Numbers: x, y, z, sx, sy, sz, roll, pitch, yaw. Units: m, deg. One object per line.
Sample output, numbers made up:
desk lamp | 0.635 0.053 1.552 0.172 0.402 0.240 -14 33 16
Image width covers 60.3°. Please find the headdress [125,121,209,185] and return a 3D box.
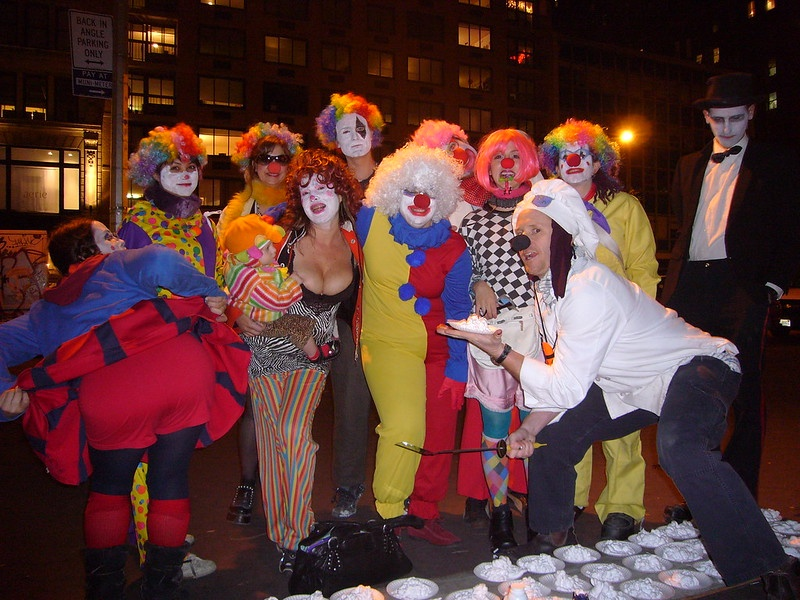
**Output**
headdress | -1.831 -1.130 5.354 0.507 0.493 0.295 -3 4 18

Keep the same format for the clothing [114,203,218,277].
clothing | -1.590 -0.404 4.695 0.494 0.404 0.264 23 -11 -32

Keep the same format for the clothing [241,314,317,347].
clothing | -0.761 0.193 4.625 0.303 0.222 0.114 16 -18 1

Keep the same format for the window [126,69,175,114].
window | -9.835 -8.133 27.328 1.699 1.538 0.696 -2 7 -22

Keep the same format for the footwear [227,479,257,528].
footwear | -1.240 1.591 5.399 0.129 0.161 0.402 8 19 -6

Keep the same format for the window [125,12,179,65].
window | -9.749 -10.197 27.269 1.809 1.759 0.969 -2 7 -19

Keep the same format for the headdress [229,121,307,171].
headdress | -1.238 -1.395 6.317 0.492 0.277 0.543 1 9 -10

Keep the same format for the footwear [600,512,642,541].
footwear | 1.586 1.605 4.922 0.226 0.228 0.203 -4 4 -19

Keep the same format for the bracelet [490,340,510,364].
bracelet | 0.634 0.347 4.347 0.088 0.138 0.126 38 -30 -5

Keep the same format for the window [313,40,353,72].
window | -3.023 -10.593 29.850 1.542 1.180 0.133 -2 4 -19

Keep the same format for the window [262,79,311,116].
window | -4.874 -8.485 28.907 1.704 1.263 0.231 1 -11 -22

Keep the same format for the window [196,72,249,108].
window | -7.337 -8.565 28.028 1.555 1.048 0.061 -3 3 -27

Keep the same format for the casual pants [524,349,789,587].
casual pants | 1.708 1.005 4.279 1.184 1.260 1.573 -18 8 -35

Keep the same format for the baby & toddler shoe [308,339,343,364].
baby & toddler shoe | -0.511 0.344 4.716 0.100 0.094 0.217 13 36 41

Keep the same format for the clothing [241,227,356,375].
clothing | -0.721 -0.020 4.650 0.782 1.059 0.577 12 -12 -27

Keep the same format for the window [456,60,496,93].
window | 3.555 -10.779 33.206 1.797 1.094 0.040 1 -2 -22

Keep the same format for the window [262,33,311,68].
window | -4.912 -10.545 29.082 1.578 0.990 0.101 -3 5 -25

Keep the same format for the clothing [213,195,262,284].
clothing | -1.370 -0.548 5.782 0.557 0.743 0.264 3 9 -13

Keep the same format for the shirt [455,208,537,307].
shirt | 0.687 -0.270 4.866 0.569 0.728 0.377 -5 -13 -2

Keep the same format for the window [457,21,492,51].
window | 3.488 -12.786 33.280 1.662 0.999 0.031 -2 1 -32

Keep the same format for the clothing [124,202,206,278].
clothing | -1.596 -0.405 4.649 0.280 0.516 0.524 -4 -11 38

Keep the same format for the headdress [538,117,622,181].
headdress | 1.476 -1.320 5.801 0.507 0.562 0.320 3 -18 1

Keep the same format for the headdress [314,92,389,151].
headdress | -0.479 -1.742 6.582 0.522 0.594 0.284 -1 34 1

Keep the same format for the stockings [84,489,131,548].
stockings | -1.657 1.235 3.902 0.241 0.300 0.149 -3 8 -28

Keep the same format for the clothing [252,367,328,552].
clothing | -0.795 1.072 4.632 0.513 1.205 0.409 1 7 6

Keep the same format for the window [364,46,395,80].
window | -1.012 -10.584 30.731 1.609 1.237 0.171 6 -7 -32

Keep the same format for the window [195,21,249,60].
window | -7.364 -10.576 27.982 1.665 1.044 0.127 -6 11 -28
